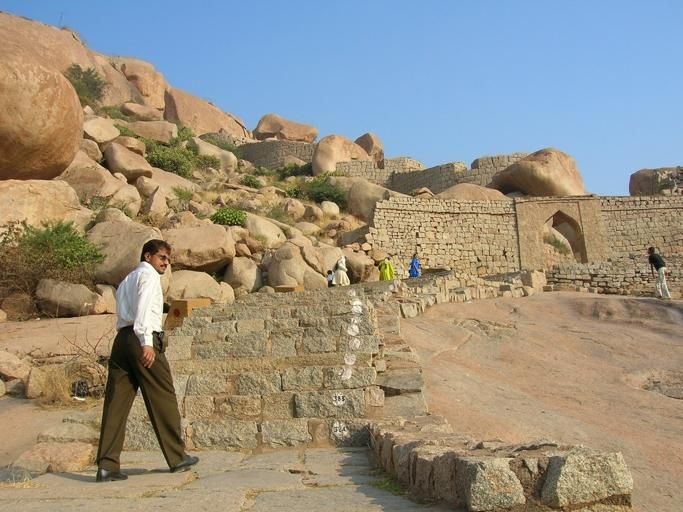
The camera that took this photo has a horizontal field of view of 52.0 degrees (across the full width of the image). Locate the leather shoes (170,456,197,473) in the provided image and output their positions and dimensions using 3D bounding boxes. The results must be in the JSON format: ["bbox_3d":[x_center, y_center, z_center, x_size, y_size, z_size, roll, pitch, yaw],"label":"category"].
[{"bbox_3d":[-2.050,2.755,9.182,0.131,0.166,0.367,5,13,43],"label":"leather shoes"}]

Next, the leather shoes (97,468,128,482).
[{"bbox_3d":[-2.928,2.798,8.931,0.398,0.193,0.149,3,-5,-10],"label":"leather shoes"}]

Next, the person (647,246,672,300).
[{"bbox_3d":[9.194,0.504,20.050,0.507,1.317,1.379,-1,-1,16],"label":"person"}]

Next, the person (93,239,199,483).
[{"bbox_3d":[-2.618,1.334,9.364,1.092,3.180,0.553,3,-7,-19],"label":"person"}]
